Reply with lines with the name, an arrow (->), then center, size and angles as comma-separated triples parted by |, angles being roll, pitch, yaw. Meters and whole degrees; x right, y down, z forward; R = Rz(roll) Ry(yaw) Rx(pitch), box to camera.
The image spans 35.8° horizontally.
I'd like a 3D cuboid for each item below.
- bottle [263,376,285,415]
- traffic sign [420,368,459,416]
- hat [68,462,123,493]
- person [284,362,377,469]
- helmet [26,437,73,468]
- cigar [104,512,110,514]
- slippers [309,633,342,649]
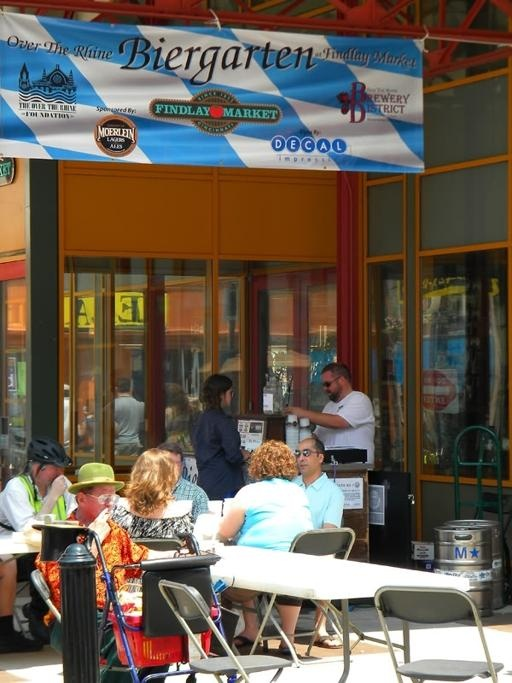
bottle -> 0.167, 0.517, 7.659 | 0.208, 0.345, 0.295 | -5, -1, 2
traffic sign -> 1.708, 0.475, 7.480 | 0.053, 0.427, 0.525 | 0, -1, -39
hat -> -0.741, 0.624, 3.592 | 0.181, 0.070, 0.198 | 7, -20, -34
person -> 0.642, 0.800, 6.779 | 0.717, 1.168, 0.537 | 1, -4, -30
helmet -> -1.190, 0.637, 4.541 | 0.225, 0.092, 0.155 | 6, 6, 23
cigar -> -0.612, 0.714, 3.280 | 0.014, 0.003, 0.013 | 2, 3, 23
slippers -> 0.410, 1.719, 4.551 | 0.158, 0.056, 0.080 | -7, -7, 32
